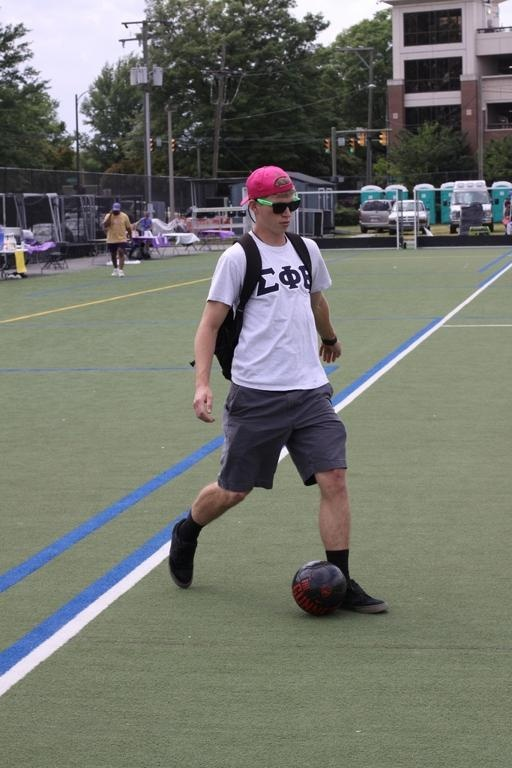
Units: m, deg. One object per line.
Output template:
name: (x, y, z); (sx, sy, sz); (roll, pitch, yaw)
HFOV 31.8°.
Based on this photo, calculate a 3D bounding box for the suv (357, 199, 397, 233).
suv: (7.327, -10.195, 54.022); (1.627, 1.239, 3.103); (2, 16, 14)

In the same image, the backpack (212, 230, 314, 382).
backpack: (-0.008, -0.335, 3.750); (0.380, 0.579, 0.403); (6, 14, 15)

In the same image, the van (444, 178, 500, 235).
van: (11.717, -9.772, 49.071); (2.141, 3.147, 6.466); (1, 7, 12)

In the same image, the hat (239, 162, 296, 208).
hat: (0.045, -0.806, 3.620); (0.144, 0.102, 0.206); (-18, 11, -23)

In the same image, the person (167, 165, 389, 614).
person: (0.085, 0.012, 3.852); (1.095, 1.747, 0.996); (1, 0, 19)

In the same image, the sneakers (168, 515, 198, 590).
sneakers: (-0.323, 0.743, 3.975); (0.129, 0.140, 0.341); (3, 40, -13)
